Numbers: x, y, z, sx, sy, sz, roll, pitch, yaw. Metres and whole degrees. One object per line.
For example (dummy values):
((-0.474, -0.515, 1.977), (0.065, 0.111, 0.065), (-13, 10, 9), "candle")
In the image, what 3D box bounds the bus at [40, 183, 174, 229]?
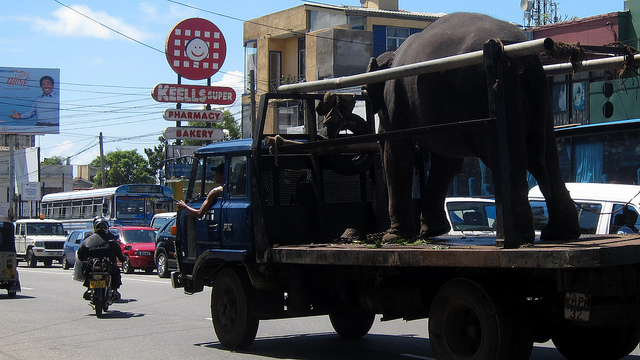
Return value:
((-10.495, 1.330, 39.407), (9.951, 2.770, 3.192), (-3, -3, 40), "bus")

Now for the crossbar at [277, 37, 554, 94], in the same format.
((1.592, -2.033, 14.375), (5.235, 0.405, 0.578), (-3, -1, 37), "crossbar")

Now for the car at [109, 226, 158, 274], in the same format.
((-7.326, 2.789, 33.485), (1.987, 1.665, 4.164), (-15, 4, -23), "car")

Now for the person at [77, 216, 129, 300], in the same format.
((-5.774, 1.983, 21.017), (1.086, 2.252, 1.273), (1, -1, -36), "person")
